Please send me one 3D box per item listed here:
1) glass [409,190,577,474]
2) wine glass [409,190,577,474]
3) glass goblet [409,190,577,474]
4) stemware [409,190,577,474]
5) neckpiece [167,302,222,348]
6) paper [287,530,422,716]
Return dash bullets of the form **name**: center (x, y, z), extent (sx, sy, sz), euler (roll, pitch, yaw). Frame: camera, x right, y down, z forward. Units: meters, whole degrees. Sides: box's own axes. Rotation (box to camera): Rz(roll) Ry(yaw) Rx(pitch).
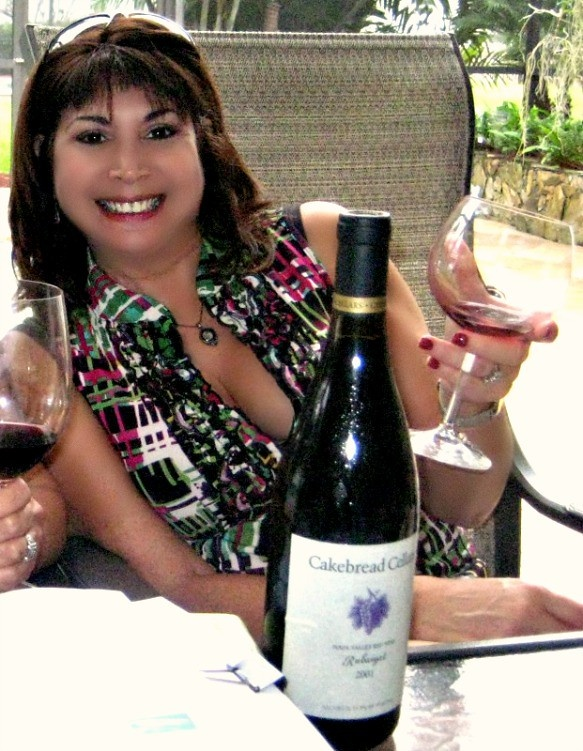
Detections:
- **glass**: center (0.237, -0.045, 0.921), extent (0.151, 0.354, 0.256), euler (4, 12, -8)
- **wine glass**: center (0.237, -0.045, 0.921), extent (0.151, 0.354, 0.256), euler (4, 12, -8)
- **glass goblet**: center (0.237, -0.045, 0.921), extent (0.151, 0.354, 0.256), euler (4, 12, -8)
- **stemware**: center (0.237, -0.045, 0.921), extent (0.151, 0.354, 0.256), euler (4, 12, -8)
- **neckpiece**: center (-0.167, -0.085, 1.233), extent (0.075, 0.059, 0.008), euler (36, -20, 8)
- **paper**: center (0.033, 0.148, 0.425), extent (0.076, 0.115, 0.037), euler (5, 12, -2)
